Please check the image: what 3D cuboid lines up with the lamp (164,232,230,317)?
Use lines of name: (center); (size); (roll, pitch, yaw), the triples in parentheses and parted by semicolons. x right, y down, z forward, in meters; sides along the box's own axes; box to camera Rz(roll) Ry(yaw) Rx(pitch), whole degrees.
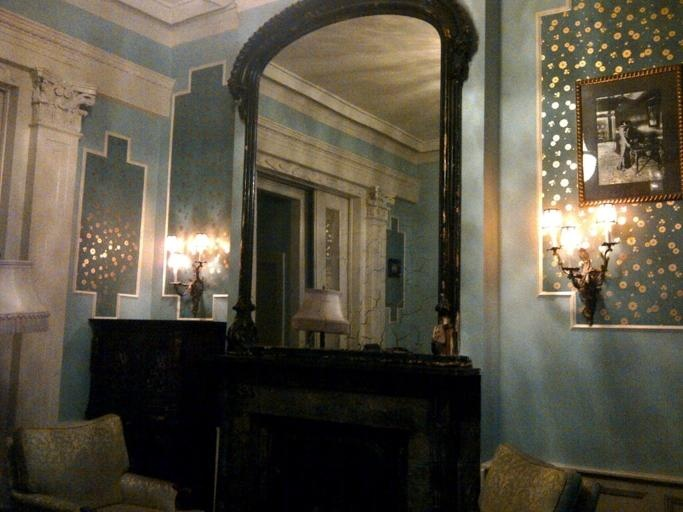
lamp: (-1.167, 0.156, 5.266); (0.537, 0.604, 0.183); (-8, -17, 28)
